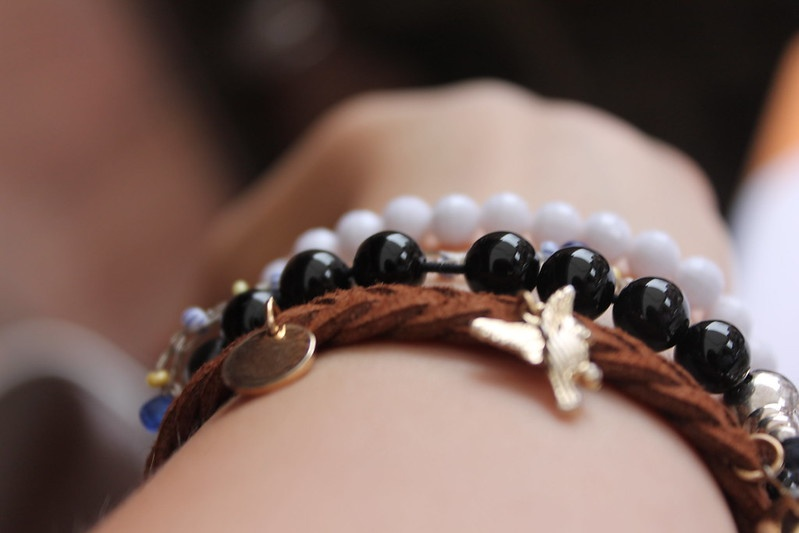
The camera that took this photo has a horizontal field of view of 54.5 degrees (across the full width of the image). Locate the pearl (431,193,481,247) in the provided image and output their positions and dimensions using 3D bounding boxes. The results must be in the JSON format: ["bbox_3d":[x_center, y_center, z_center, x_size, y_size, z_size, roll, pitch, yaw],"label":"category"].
[{"bbox_3d":[0.100,-0.082,1.376,0.077,0.100,0.082,3,4,19],"label":"pearl"}]

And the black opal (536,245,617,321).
[{"bbox_3d":[0.268,0.018,1.202,0.096,0.108,0.118,9,6,11],"label":"black opal"}]

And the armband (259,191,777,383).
[{"bbox_3d":[0.243,-0.098,1.410,0.625,0.346,0.753,-17,25,-40],"label":"armband"}]
